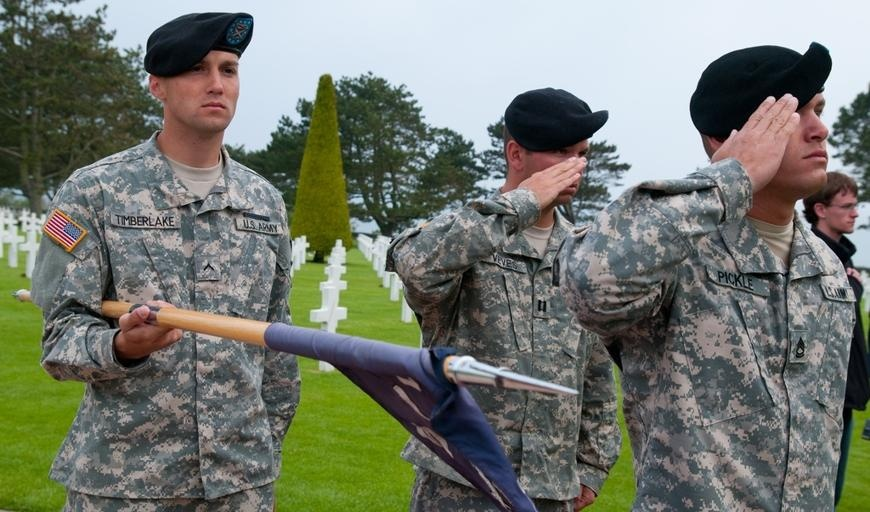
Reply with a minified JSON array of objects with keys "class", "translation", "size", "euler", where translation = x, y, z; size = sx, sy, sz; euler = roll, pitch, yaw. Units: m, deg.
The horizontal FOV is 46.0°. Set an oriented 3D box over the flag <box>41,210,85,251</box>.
[{"class":"flag","translation":[-2.538,-0.181,7.109],"size":[0.309,0.230,0.082],"euler":[40,-2,-2]}]
